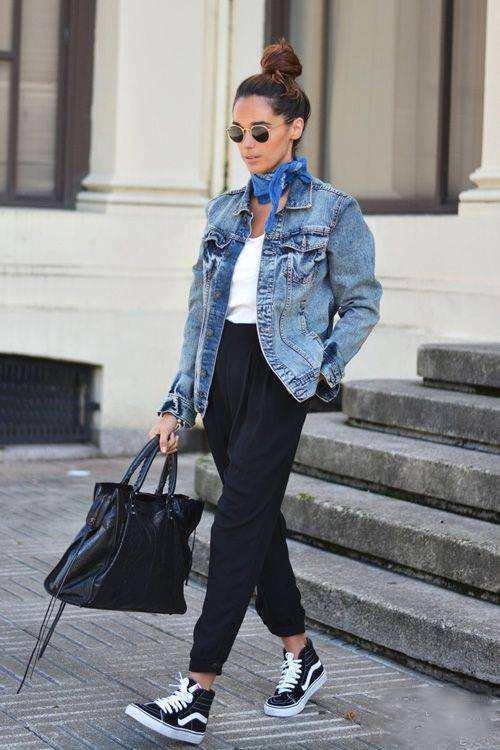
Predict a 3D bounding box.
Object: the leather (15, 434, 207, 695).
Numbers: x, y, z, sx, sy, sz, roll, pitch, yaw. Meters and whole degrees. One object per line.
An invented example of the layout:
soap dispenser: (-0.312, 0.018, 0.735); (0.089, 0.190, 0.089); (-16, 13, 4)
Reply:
leather: (-0.372, 0.538, 3.195); (0.507, 0.774, 0.229); (14, 0, -42)

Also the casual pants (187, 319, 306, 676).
casual pants: (0.007, 0.339, 3.101); (0.308, 0.972, 0.327); (2, 6, 3)

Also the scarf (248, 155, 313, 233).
scarf: (0.084, -0.509, 3.145); (0.167, 0.215, 0.097); (0, -3, 0)

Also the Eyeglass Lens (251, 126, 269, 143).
Eyeglass Lens: (0.033, -0.678, 3.041); (0.039, 0.039, 0.018); (-1, -32, -1)

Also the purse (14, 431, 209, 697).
purse: (-0.518, 0.709, 4.040); (0.534, 0.863, 0.264); (25, 4, -35)

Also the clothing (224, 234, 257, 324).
clothing: (-0.009, -0.267, 3.058); (0.049, 0.197, 0.111); (4, 6, 4)

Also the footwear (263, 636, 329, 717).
footwear: (0.158, 0.913, 3.331); (0.103, 0.176, 0.291); (-6, 13, 33)

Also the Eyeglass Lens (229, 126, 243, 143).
Eyeglass Lens: (-0.043, -0.690, 3.098); (0.021, 0.048, 0.046); (-22, 31, 14)
